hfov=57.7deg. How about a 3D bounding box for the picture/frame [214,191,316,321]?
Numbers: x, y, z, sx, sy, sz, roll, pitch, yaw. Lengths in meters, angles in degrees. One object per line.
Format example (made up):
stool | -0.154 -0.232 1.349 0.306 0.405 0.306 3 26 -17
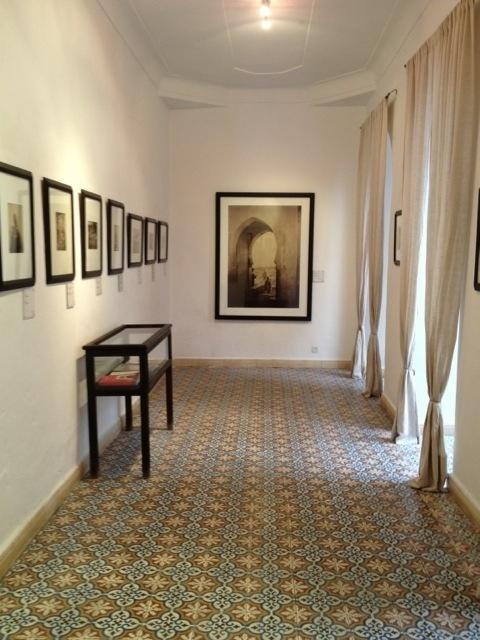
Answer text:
picture/frame | 0.409 -1.016 6.967 1.466 0.071 2.672 0 56 5
